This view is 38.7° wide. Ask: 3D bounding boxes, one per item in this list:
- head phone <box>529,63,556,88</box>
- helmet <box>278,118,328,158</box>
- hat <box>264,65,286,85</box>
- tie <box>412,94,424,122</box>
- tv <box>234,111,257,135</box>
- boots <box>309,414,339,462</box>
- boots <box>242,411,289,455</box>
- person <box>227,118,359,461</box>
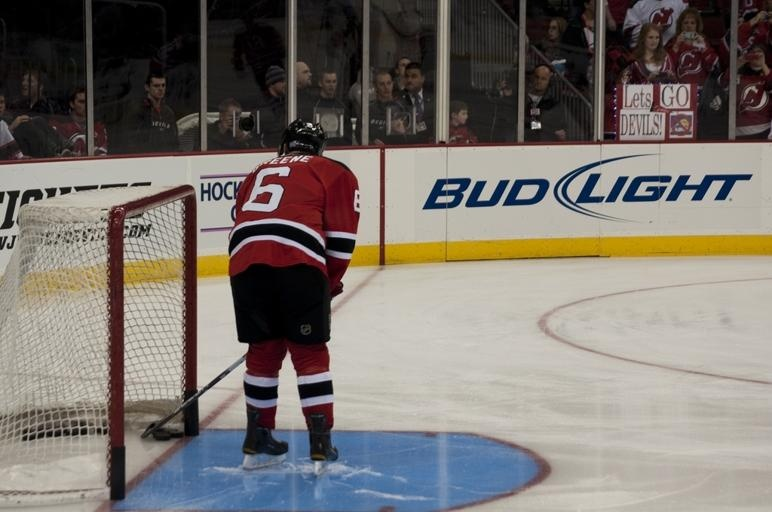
[{"bbox_3d":[1.861,-2.174,13.250,0.250,0.277,0.305,16,14,28],"label":"head phone"},{"bbox_3d":[-0.589,-0.787,7.364,0.225,0.251,0.277,17,1,-17],"label":"helmet"},{"bbox_3d":[-1.289,-2.079,12.591,0.222,0.185,0.212,-18,16,-17],"label":"hat"},{"bbox_3d":[0.377,-1.741,12.925,0.205,0.280,0.073,-2,3,-27],"label":"tie"},{"bbox_3d":[-1.585,-1.510,12.426,0.199,0.242,0.099,-24,12,-15],"label":"tv"},{"bbox_3d":[-0.409,1.167,7.044,0.197,0.334,0.181,0,6,-4],"label":"boots"},{"bbox_3d":[-0.803,1.167,7.186,0.161,0.300,0.385,-8,-15,37],"label":"boots"},{"bbox_3d":[-0.596,0.344,7.081,0.817,1.975,0.461,0,6,-3],"label":"person"}]
